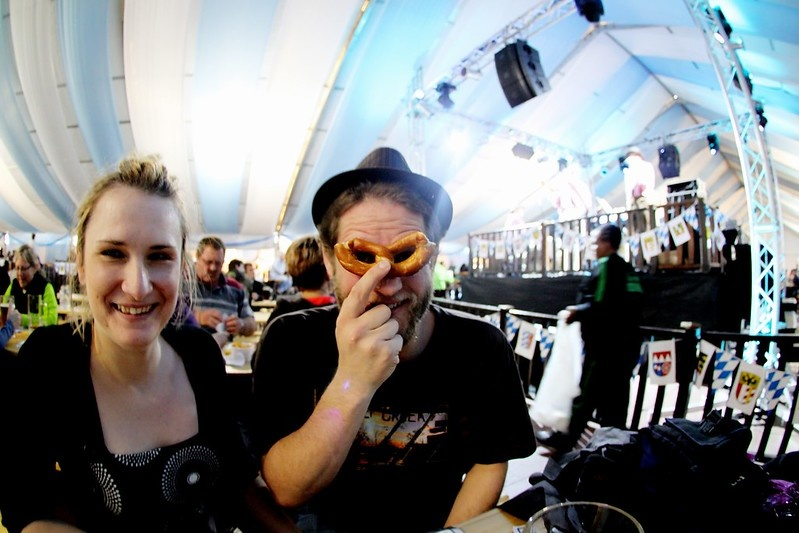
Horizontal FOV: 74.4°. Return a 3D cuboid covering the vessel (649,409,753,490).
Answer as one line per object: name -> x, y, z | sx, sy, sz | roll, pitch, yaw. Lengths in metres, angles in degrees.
vessel -> 2.702, 1.591, 4.752 | 0.886, 0.486, 0.387 | 4, -1, -5

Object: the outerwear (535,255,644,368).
outerwear -> 2.710, 0.574, 7.514 | 1.264, 2.166, 1.724 | 4, -19, 28

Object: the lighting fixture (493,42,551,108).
lighting fixture -> 2.754, -4.313, 11.428 | 0.762, 1.391, 0.972 | -20, 22, 20
